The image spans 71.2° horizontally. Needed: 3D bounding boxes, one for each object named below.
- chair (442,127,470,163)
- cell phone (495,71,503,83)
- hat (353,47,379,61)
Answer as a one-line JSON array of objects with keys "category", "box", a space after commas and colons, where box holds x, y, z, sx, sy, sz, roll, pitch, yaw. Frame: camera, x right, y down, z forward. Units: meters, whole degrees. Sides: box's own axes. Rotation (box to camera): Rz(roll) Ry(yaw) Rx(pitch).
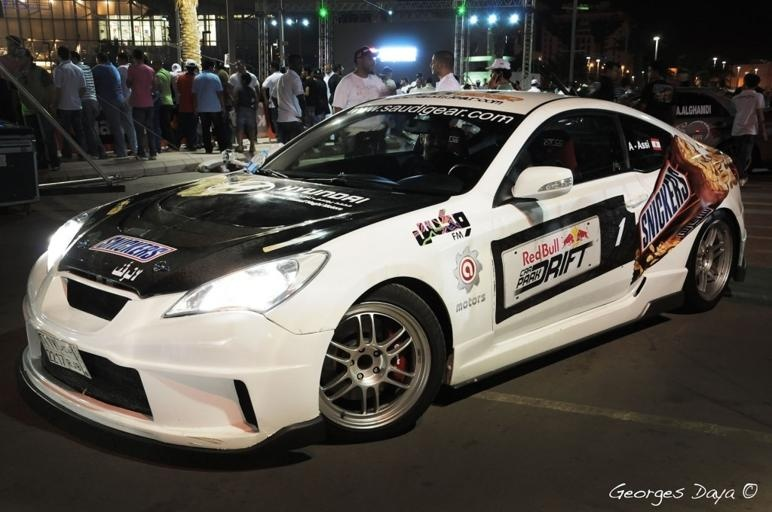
[{"category": "chair", "box": [0.587, -1.005, 4.676, 0.140, 0.255, 0.185, 0, 23, -10]}, {"category": "cell phone", "box": [2.052, -3.225, 9.726, 0.089, 0.178, 0.127, 3, 12, -4]}, {"category": "hat", "box": [-0.317, -3.695, 9.813, 0.372, 0.144, 0.260, -12, 7, -33]}]
